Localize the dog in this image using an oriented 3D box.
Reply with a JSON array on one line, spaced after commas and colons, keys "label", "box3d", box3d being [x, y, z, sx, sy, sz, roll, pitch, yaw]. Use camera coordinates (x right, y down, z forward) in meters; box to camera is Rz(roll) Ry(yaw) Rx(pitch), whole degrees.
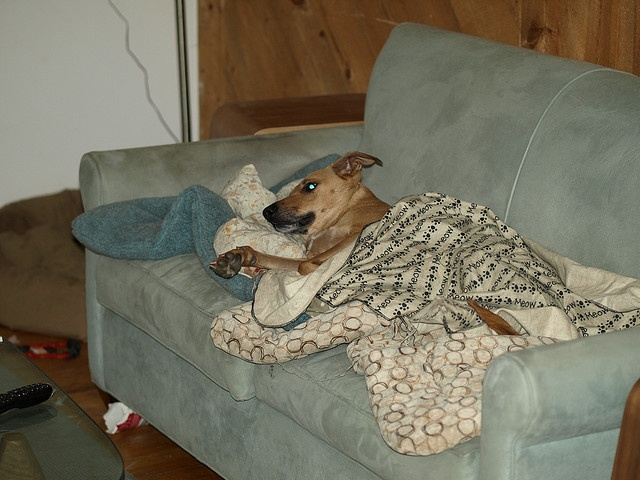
[{"label": "dog", "box3d": [0.204, -0.101, 2.664, 1.168, 0.635, 0.324, 7, 19, -35]}]
